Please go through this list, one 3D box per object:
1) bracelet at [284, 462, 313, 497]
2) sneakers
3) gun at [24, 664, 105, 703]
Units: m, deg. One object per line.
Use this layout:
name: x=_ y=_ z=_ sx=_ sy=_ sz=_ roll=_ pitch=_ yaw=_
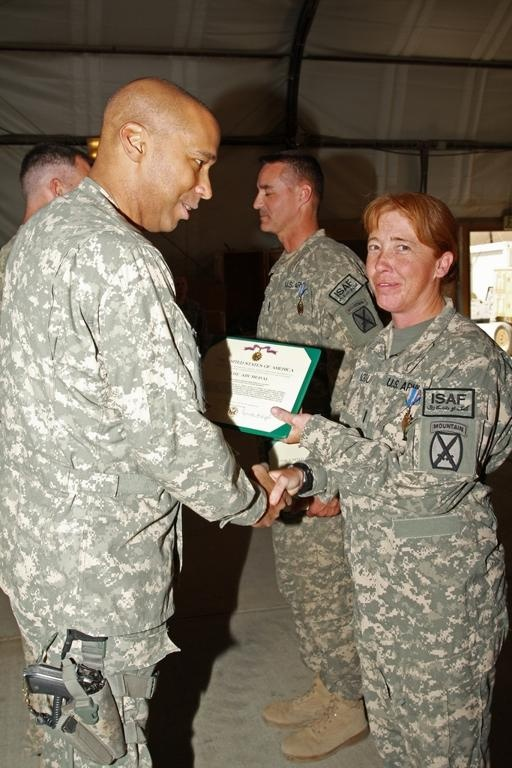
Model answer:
bracelet: x=0.110 y=0.261 z=1.902 sx=0.069 sy=0.083 sz=0.036 roll=0 pitch=-4 yaw=32
sneakers: x=0.203 y=1.150 z=2.409 sx=0.266 sy=0.112 sz=0.244 roll=-1 pitch=7 yaw=-8
gun: x=-0.351 y=0.551 z=1.281 sx=0.127 sy=0.044 sz=0.064 roll=4 pitch=32 yaw=-3
